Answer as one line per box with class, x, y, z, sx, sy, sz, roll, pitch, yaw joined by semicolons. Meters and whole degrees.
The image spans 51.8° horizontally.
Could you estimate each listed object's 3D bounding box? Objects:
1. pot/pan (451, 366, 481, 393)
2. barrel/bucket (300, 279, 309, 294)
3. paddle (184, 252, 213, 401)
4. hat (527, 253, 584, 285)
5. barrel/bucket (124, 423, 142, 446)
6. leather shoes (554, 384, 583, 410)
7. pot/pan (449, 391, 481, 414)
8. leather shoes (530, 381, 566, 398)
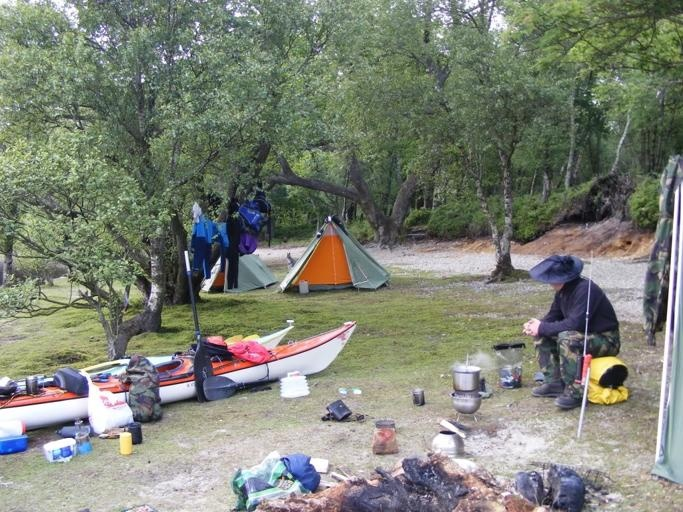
pot/pan;1.899;1.883;10.740;0.385;0.391;0.393;0;-4;9
barrel/bucket;-1.257;1.025;22.823;0.297;0.410;0.390;-7;6;-6
paddle;-3.085;1.453;14.966;0.486;2.629;0.840;1;7;-14
hat;3.411;0.200;11.235;0.693;0.473;0.819;-3;11;-31
barrel/bucket;-3.081;2.671;10.489;0.254;0.287;0.258;2;7;0
leather shoes;3.504;2.211;10.820;0.580;0.287;0.207;-2;-1;-19
pot/pan;1.852;2.214;10.569;0.352;0.207;0.359;1;-14;-4
leather shoes;3.309;2.173;11.375;0.458;0.204;0.218;2;-2;5
